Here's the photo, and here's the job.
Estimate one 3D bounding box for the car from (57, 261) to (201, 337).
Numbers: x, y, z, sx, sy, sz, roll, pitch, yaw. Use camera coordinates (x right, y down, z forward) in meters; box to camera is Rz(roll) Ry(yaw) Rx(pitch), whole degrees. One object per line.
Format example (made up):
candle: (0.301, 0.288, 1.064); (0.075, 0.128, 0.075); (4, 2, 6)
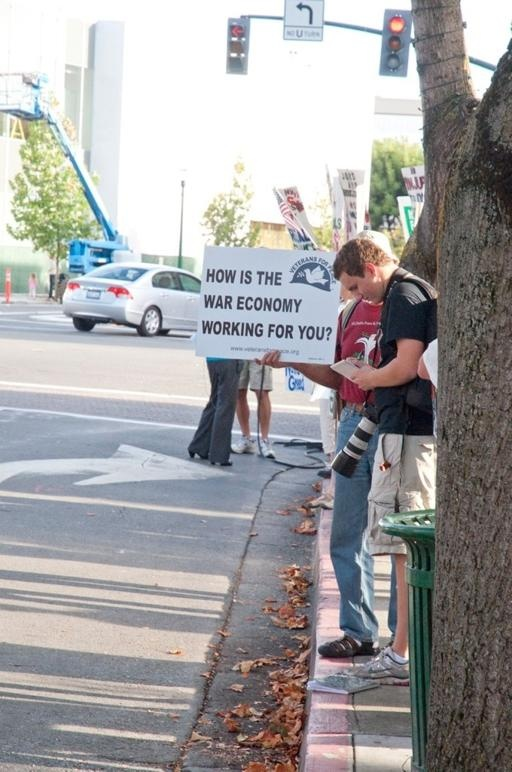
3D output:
car: (-2.672, -1.910, 22.676); (1.310, 1.618, 2.837); (12, 9, 42)

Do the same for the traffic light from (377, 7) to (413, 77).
traffic light: (2.063, -5.057, 15.199); (0.436, 0.999, 0.553); (7, 7, 3)

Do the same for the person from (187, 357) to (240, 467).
person: (-0.365, 0.216, 9.243); (0.405, 0.965, 0.547); (6, 7, -4)

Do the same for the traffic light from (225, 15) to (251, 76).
traffic light: (-0.303, -5.706, 17.142); (0.384, 0.907, 0.412); (6, 7, -4)

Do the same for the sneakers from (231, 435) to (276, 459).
sneakers: (-0.025, 0.584, 10.051); (0.495, 0.200, 0.172); (5, 5, 0)

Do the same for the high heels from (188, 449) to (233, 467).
high heels: (-0.439, 0.616, 9.381); (0.440, 0.157, 0.153); (3, 11, 20)

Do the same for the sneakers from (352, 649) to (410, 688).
sneakers: (0.514, 1.104, 4.061); (0.298, 0.162, 0.099); (4, 1, 4)
